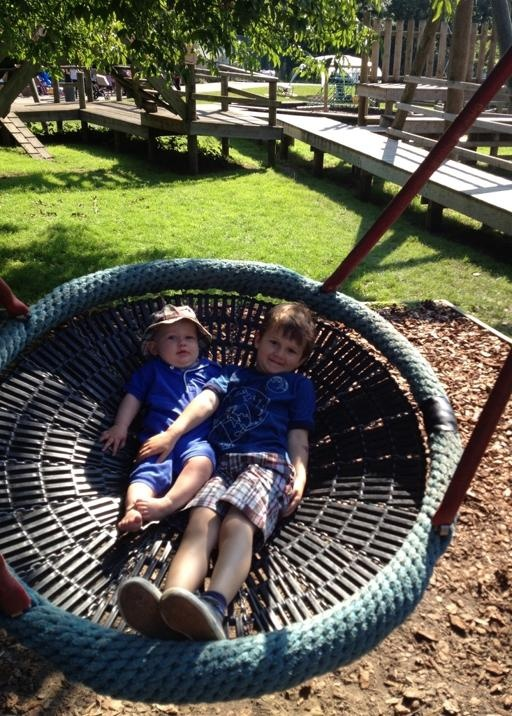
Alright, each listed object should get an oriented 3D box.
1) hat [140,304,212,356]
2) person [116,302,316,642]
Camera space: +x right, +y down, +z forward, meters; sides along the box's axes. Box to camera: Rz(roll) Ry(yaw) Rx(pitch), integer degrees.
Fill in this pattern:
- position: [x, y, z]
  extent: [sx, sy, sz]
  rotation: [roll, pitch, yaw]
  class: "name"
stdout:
- position: [-0.297, -0.134, 2.119]
  extent: [0.172, 0.223, 0.119]
  rotation: [2, 52, -11]
  class: "hat"
- position: [-0.075, 0.287, 1.653]
  extent: [0.401, 0.294, 0.996]
  rotation: [4, 42, 18]
  class: "person"
